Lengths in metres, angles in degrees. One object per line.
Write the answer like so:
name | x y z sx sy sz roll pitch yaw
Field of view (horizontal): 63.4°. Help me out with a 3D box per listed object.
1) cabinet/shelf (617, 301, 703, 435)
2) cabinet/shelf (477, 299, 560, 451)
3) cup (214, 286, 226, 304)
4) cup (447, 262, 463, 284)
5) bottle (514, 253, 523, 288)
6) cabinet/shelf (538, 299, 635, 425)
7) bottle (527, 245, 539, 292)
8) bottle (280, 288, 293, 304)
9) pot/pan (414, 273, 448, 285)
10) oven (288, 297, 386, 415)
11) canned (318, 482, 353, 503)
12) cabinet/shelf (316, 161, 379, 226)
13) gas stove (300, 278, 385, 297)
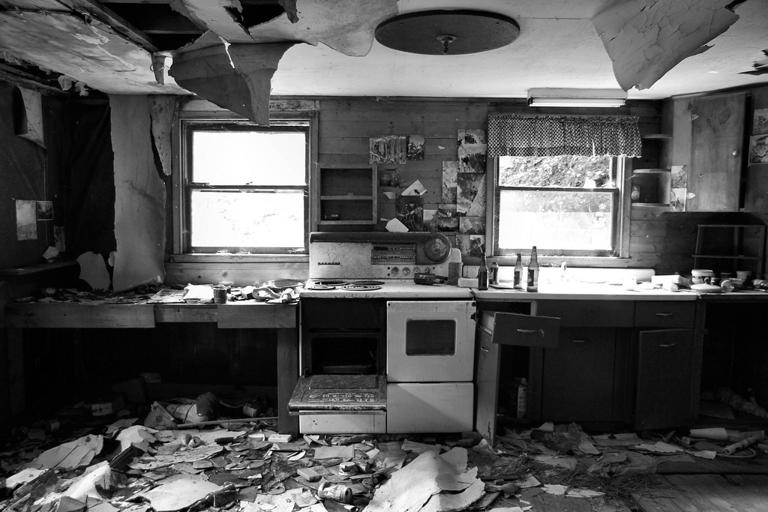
cabinet/shelf | 2.337 0.890 5.099 0.545 1.049 0.241 1 1 15
cabinet/shelf | 1.294 1.063 5.045 0.796 1.131 0.743 2 -6 24
cup | -1.376 0.324 5.163 0.098 0.141 0.181 0 1 -31
cup | 0.634 0.150 5.579 0.117 0.193 0.321 1 1 7
bottle | 1.179 0.124 5.456 0.082 0.290 0.430 1 1 12
cabinet/shelf | 1.583 0.896 5.543 0.997 1.038 0.920 2 -5 4
bottle | 1.269 0.102 5.306 0.089 0.373 0.384 1 1 12
bottle | -0.813 0.331 5.193 0.107 0.090 0.232 1 1 -10
pot/pan | 0.407 0.204 5.555 0.299 0.096 0.262 1 1 3
oven | -0.357 0.771 5.080 0.738 0.863 0.629 1 1 -1
canned | -0.345 1.687 4.462 0.229 0.111 0.162 1 1 37
cabinet/shelf | -0.355 -0.572 5.738 0.684 0.553 0.217 1 -4 -1
gas stove | -0.340 0.273 5.363 0.669 0.124 0.579 1 1 0
